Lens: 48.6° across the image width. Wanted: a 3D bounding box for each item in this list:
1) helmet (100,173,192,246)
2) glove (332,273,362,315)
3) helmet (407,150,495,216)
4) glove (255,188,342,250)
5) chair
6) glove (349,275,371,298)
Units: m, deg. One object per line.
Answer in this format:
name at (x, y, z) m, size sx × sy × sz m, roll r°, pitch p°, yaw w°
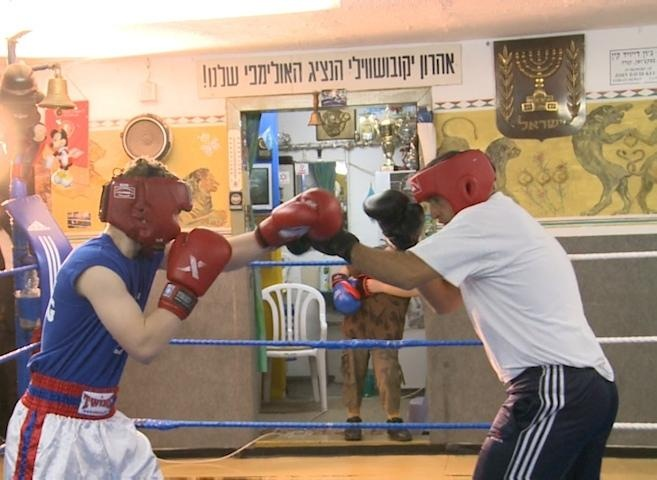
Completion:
helmet at (-0.784, -0.136, 3.147) m, size 0.361 × 0.288 × 0.270 m, roll -2°, pitch 2°, yaw -14°
glove at (0.138, 0.419, 5.394) m, size 0.212 × 0.129 × 0.280 m, roll 2°, pitch 47°, yaw -3°
helmet at (0.585, -0.274, 3.427) m, size 0.345 × 0.219 × 0.267 m, roll -17°, pitch -2°, yaw 19°
glove at (-0.123, -0.060, 3.439) m, size 0.335 × 0.162 × 0.258 m, roll -14°, pitch 16°, yaw 28°
chair at (-0.304, 0.869, 6.014) m, size 0.741 × 0.925 × 0.708 m, roll 1°, pitch 4°, yaw 30°
glove at (0.234, 0.344, 5.354) m, size 0.065 × 0.162 × 0.117 m, roll -25°, pitch -10°, yaw -7°
